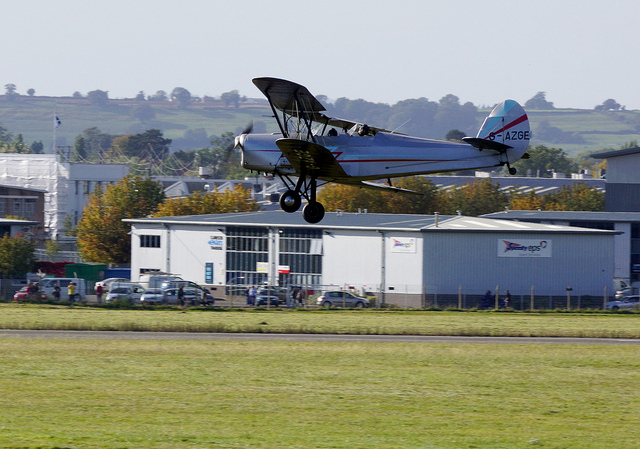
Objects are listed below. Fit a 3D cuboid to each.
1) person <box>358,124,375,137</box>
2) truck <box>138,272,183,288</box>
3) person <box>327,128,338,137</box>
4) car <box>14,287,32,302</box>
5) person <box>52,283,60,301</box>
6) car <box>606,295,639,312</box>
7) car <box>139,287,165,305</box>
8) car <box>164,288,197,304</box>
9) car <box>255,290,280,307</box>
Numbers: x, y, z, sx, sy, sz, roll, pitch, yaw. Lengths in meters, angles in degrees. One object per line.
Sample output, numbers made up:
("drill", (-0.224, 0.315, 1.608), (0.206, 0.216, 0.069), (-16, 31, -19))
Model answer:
("person", (3.997, -7.756, 136.076), (1.372, 0.892, 0.519), (1, -6, -3))
("truck", (-14.741, 5.368, 156.417), (4.498, 0.971, 1.810), (-3, 4, -28))
("person", (1.132, -7.678, 136.316), (1.178, 0.657, 0.224), (-1, 5, 3))
("car", (-27.280, 6.383, 150.827), (1.623, 1.182, 0.919), (0, -6, 9))
("person", (-24.373, 6.393, 152.040), (0.960, 1.744, 0.879), (6, -33, -8))
("car", (28.396, 7.383, 152.642), (3.054, 0.856, 1.434), (2, -3, 3))
("car", (-15.295, 6.623, 149.590), (1.946, 1.517, 2.209), (5, -6, -39))
("car", (-12.812, 6.639, 149.841), (2.729, 1.401, 0.666), (3, -6, -24))
("car", (-4.925, 6.848, 151.564), (2.178, 1.506, 2.739), (3, -5, -23))
